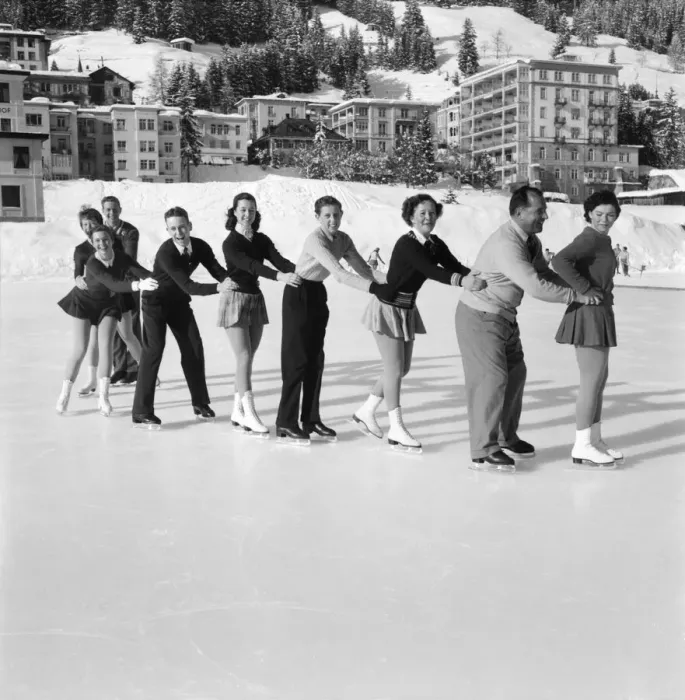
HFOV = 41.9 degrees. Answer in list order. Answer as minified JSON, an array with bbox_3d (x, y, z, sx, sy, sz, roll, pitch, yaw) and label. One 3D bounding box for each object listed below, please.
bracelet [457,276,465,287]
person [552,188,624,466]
[{"bbox_3d":[0.780,-0.462,5.855,0.048,0.073,0.153,4,11,7],"label":"bracelet"},{"bbox_3d":[1.589,-0.133,5.800,0.606,1.808,0.348,-1,11,-19],"label":"person"}]
